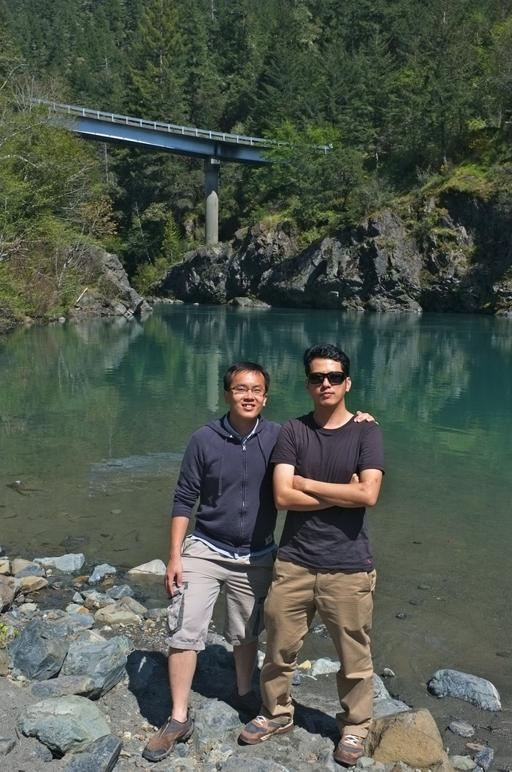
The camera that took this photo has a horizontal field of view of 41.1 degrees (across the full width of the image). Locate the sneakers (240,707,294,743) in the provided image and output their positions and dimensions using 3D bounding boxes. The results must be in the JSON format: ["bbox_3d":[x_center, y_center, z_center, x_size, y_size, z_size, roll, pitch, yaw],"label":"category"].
[{"bbox_3d":[0.043,1.839,3.774,0.324,0.155,0.115,-5,7,-17],"label":"sneakers"}]

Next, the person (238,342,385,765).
[{"bbox_3d":[0.325,0.881,3.640,0.696,2.174,0.506,1,6,11],"label":"person"}]

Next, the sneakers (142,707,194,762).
[{"bbox_3d":[-0.463,1.839,3.612,0.105,0.134,0.299,14,34,37],"label":"sneakers"}]

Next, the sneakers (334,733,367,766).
[{"bbox_3d":[0.488,1.871,3.521,0.168,0.119,0.135,0,6,4],"label":"sneakers"}]
